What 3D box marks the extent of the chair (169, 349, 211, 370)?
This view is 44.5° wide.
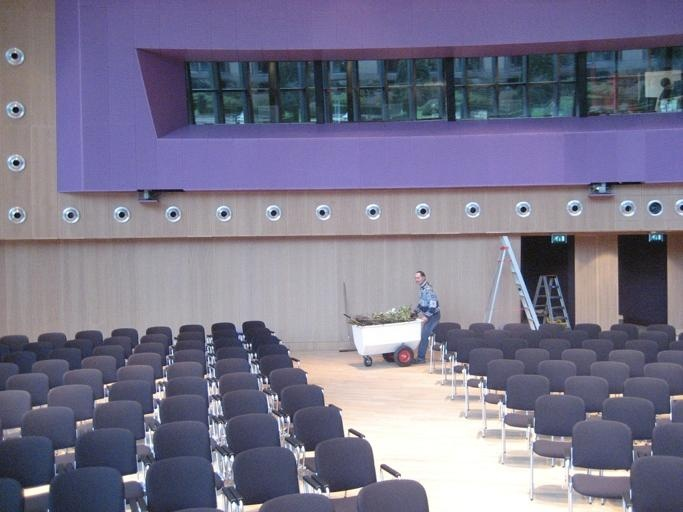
[{"bbox_3d":[-2.962,1.968,16.257,0.428,0.472,0.427,0,-6,-4],"label":"chair"}]

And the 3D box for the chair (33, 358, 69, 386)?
[{"bbox_3d":[-5.411,2.130,15.547,0.476,0.686,0.506,1,-9,-14],"label":"chair"}]

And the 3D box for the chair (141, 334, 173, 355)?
[{"bbox_3d":[-3.941,1.834,17.762,0.447,0.648,0.486,1,-4,-12],"label":"chair"}]

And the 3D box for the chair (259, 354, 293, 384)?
[{"bbox_3d":[-1.259,2.130,15.918,0.489,0.691,0.519,1,-4,-14],"label":"chair"}]

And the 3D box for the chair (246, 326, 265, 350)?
[{"bbox_3d":[-1.897,1.746,18.373,0.306,0.466,0.367,0,-9,1],"label":"chair"}]

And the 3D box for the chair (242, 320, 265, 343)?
[{"bbox_3d":[-2.024,1.695,19.116,0.360,0.566,0.448,2,-10,-9],"label":"chair"}]

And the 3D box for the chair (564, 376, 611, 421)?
[{"bbox_3d":[4.163,2.430,14.264,0.664,0.760,0.590,0,-8,2],"label":"chair"}]

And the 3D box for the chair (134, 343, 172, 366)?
[{"bbox_3d":[-3.845,1.970,17.019,0.464,0.729,0.555,0,-6,-6],"label":"chair"}]

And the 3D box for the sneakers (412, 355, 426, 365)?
[{"bbox_3d":[1.840,2.461,19.644,0.351,0.278,0.128,3,-4,-8],"label":"sneakers"}]

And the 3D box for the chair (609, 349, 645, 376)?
[{"bbox_3d":[5.319,1.980,15.652,0.447,0.637,0.506,-1,-13,7],"label":"chair"}]

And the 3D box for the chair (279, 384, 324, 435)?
[{"bbox_3d":[-0.766,2.631,14.379,0.661,0.973,0.737,0,-5,-11],"label":"chair"}]

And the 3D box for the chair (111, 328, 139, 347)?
[{"bbox_3d":[-4.752,1.784,18.351,0.381,0.602,0.456,0,-6,-7],"label":"chair"}]

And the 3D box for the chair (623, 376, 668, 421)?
[{"bbox_3d":[5.174,2.453,14.186,0.602,0.685,0.602,1,0,13],"label":"chair"}]

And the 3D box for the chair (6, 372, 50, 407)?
[{"bbox_3d":[-5.556,2.350,14.902,0.575,0.835,0.616,1,-5,-18],"label":"chair"}]

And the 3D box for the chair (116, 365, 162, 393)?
[{"bbox_3d":[-3.740,2.313,15.287,0.517,0.754,0.575,1,-6,-5],"label":"chair"}]

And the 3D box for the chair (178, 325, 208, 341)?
[{"bbox_3d":[-3.313,1.670,18.433,0.353,0.441,0.483,0,-17,3],"label":"chair"}]

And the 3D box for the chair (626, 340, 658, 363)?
[{"bbox_3d":[5.965,1.934,16.628,0.412,0.587,0.466,0,-11,9],"label":"chair"}]

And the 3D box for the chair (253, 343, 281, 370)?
[{"bbox_3d":[-1.460,2.003,16.759,0.418,0.467,0.420,1,-14,-5],"label":"chair"}]

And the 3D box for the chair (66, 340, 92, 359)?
[{"bbox_3d":[-5.416,1.918,17.239,0.352,0.514,0.384,1,-4,-14],"label":"chair"}]

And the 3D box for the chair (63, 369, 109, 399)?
[{"bbox_3d":[-4.605,2.309,15.102,0.781,0.500,0.748,7,-2,-10],"label":"chair"}]

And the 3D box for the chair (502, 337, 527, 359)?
[{"bbox_3d":[3.433,1.839,16.735,0.352,0.517,0.408,1,-7,-4],"label":"chair"}]

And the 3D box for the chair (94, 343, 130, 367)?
[{"bbox_3d":[-4.623,1.985,16.718,0.408,0.647,0.487,1,-6,-9],"label":"chair"}]

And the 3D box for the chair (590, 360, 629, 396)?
[{"bbox_3d":[4.780,2.201,15.105,0.501,0.731,0.577,0,-9,2],"label":"chair"}]

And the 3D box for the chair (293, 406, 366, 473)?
[{"bbox_3d":[-0.287,2.790,13.287,0.962,1.271,0.925,0,-4,-19],"label":"chair"}]

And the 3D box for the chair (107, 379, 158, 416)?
[{"bbox_3d":[-3.628,2.446,14.573,0.905,0.540,0.839,3,-1,-13],"label":"chair"}]

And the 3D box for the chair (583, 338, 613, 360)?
[{"bbox_3d":[5.089,1.877,16.665,0.372,0.547,0.431,0,-10,4],"label":"chair"}]

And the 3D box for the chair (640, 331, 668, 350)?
[{"bbox_3d":[6.505,1.791,17.369,0.363,0.409,0.369,-2,-14,21],"label":"chair"}]

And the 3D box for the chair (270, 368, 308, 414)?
[{"bbox_3d":[-0.993,2.421,14.993,0.629,0.890,0.668,1,-5,-12],"label":"chair"}]

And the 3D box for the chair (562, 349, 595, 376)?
[{"bbox_3d":[4.446,2.033,15.788,0.442,0.650,0.499,0,-7,1],"label":"chair"}]

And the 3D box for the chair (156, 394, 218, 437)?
[{"bbox_3d":[-2.633,2.658,13.876,0.592,0.574,0.584,1,-12,-10],"label":"chair"}]

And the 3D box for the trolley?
[{"bbox_3d":[0.970,1.994,19.105,1.292,1.019,1.015,3,-6,-15],"label":"trolley"}]

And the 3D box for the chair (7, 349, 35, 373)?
[{"bbox_3d":[-6.211,2.048,16.251,0.389,0.579,0.438,1,-7,-17],"label":"chair"}]

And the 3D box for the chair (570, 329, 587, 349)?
[{"bbox_3d":[4.920,1.728,17.440,0.261,0.381,0.307,0,-11,8],"label":"chair"}]

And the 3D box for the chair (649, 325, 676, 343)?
[{"bbox_3d":[6.938,1.645,18.064,0.340,0.520,0.446,-2,-12,14],"label":"chair"}]

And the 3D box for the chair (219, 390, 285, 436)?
[{"bbox_3d":[-1.613,2.595,13.880,0.545,0.793,0.595,0,-3,-14],"label":"chair"}]

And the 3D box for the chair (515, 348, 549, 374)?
[{"bbox_3d":[3.591,1.981,15.935,0.435,0.648,0.501,6,-23,-4],"label":"chair"}]

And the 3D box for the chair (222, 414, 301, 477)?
[{"bbox_3d":[-1.396,3.000,12.824,0.886,1.171,0.883,-1,-5,-10],"label":"chair"}]

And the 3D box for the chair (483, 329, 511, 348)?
[{"bbox_3d":[3.239,1.715,17.438,0.367,0.558,0.424,0,-4,5],"label":"chair"}]

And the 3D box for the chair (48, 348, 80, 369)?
[{"bbox_3d":[-5.411,1.979,16.359,0.389,0.586,0.441,0,-5,-12],"label":"chair"}]

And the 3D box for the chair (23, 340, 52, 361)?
[{"bbox_3d":[-6.147,1.894,16.961,0.414,0.621,0.464,2,-8,-14],"label":"chair"}]

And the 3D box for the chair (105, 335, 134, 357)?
[{"bbox_3d":[-4.661,1.888,17.495,0.379,0.603,0.444,1,-6,-7],"label":"chair"}]

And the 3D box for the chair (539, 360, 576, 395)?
[{"bbox_3d":[3.876,2.219,15.143,0.479,0.747,0.588,0,-7,2],"label":"chair"}]

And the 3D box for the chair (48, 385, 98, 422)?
[{"bbox_3d":[-4.581,2.606,14.379,0.628,0.960,0.720,0,-4,-16],"label":"chair"}]

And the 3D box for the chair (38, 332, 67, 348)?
[{"bbox_3d":[-6.199,1.751,17.845,0.418,0.425,0.435,3,-14,-12],"label":"chair"}]

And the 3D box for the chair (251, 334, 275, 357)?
[{"bbox_3d":[-1.657,1.857,17.588,0.345,0.524,0.402,1,-7,-6],"label":"chair"}]

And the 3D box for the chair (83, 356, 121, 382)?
[{"bbox_3d":[-4.555,2.093,15.795,0.493,0.561,0.495,0,-4,-2],"label":"chair"}]

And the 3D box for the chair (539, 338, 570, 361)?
[{"bbox_3d":[4.225,1.855,16.670,0.386,0.536,0.425,0,-10,6],"label":"chair"}]

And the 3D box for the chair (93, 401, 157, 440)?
[{"bbox_3d":[-3.551,2.641,13.566,0.886,0.938,0.523,1,1,3],"label":"chair"}]
